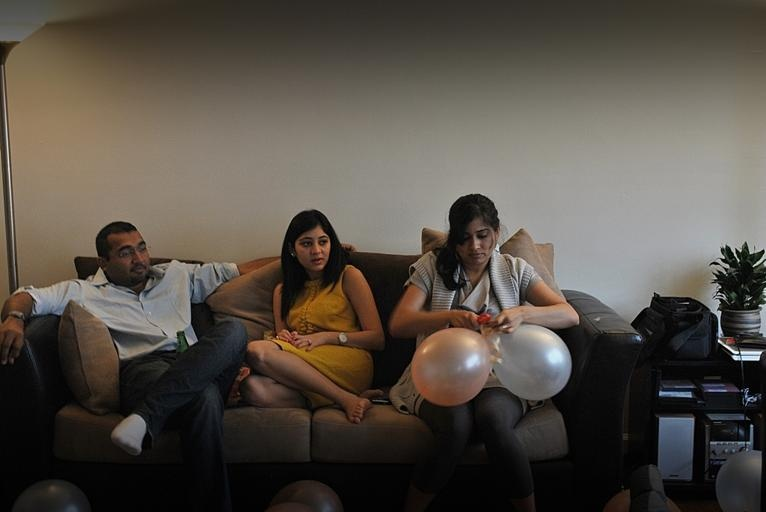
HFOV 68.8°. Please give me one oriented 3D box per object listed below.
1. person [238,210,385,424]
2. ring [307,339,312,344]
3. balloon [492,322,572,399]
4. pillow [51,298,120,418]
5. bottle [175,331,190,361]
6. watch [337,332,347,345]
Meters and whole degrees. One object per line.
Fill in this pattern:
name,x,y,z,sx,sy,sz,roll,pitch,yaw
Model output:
person,-0.367,0.277,2.962,0.704,1.046,0.758,-5,-6,14
ring,-0.385,0.452,2.939,0.015,0.020,0.006,-3,1,15
balloon,0.659,0.472,2.510,0.226,0.225,0.316,-2,43,-41
pillow,-1.480,0.527,2.750,0.235,0.325,0.452,-5,30,-16
bottle,-1.052,0.468,2.924,0.105,0.165,0.049,-2,-14,-13
watch,-0.216,0.439,2.959,0.043,0.055,0.051,7,-30,-10
